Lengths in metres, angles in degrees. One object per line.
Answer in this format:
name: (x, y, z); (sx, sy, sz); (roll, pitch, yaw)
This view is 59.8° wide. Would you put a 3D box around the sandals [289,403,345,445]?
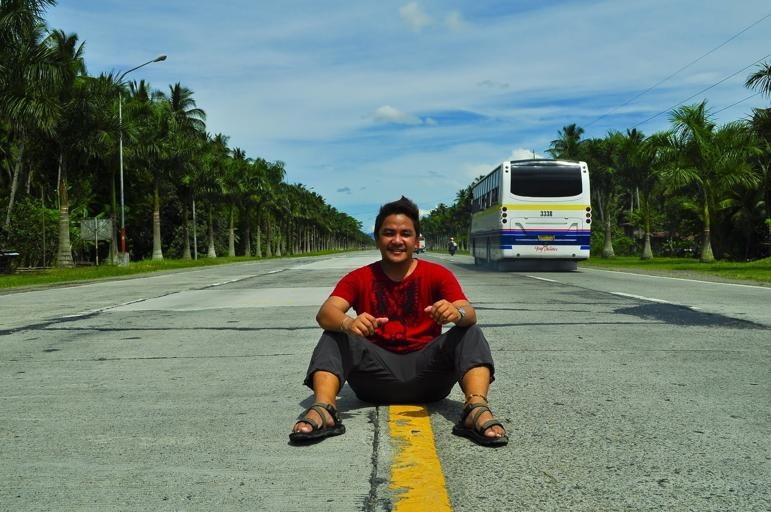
sandals: (-0.518, 1.362, 5.457); (0.222, 0.218, 0.508); (-7, -7, 37)
